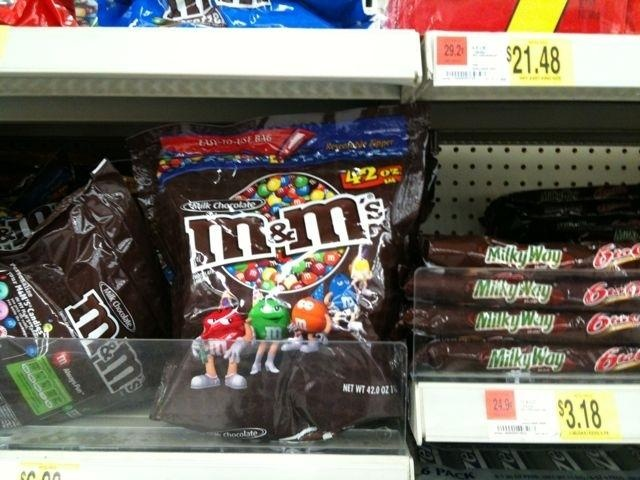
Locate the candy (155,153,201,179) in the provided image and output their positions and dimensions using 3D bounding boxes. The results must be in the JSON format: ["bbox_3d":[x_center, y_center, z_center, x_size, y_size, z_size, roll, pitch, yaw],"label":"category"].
[{"bbox_3d":[-0.302,-0.164,1.165,0.111,0.042,0.025,-6,5,0],"label":"candy"}]

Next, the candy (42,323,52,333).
[{"bbox_3d":[-0.516,0.167,1.010,0.017,0.015,0.011,-11,22,-19],"label":"candy"}]
